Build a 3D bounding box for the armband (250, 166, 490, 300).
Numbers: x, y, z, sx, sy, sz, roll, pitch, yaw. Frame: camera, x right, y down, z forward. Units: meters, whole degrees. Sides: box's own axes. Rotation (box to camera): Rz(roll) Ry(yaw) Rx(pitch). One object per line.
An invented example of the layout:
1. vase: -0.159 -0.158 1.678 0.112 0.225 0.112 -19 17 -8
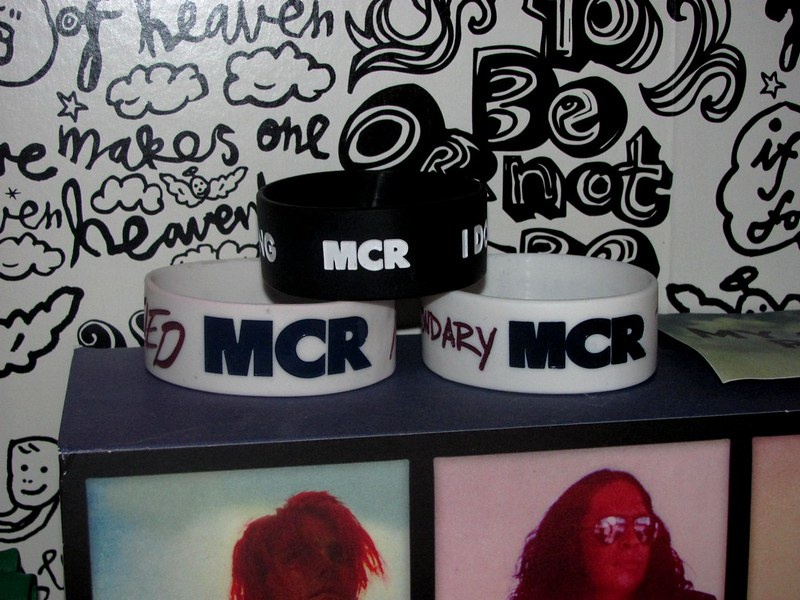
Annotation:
1. armband: -0.037 -0.094 0.948 0.185 0.088 0.200 -1 12 -3
